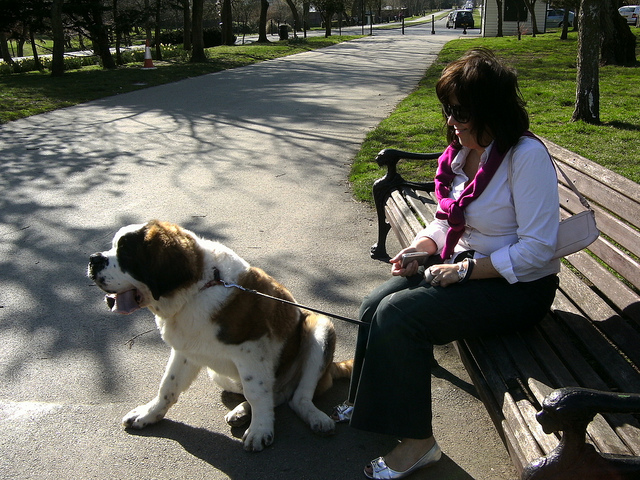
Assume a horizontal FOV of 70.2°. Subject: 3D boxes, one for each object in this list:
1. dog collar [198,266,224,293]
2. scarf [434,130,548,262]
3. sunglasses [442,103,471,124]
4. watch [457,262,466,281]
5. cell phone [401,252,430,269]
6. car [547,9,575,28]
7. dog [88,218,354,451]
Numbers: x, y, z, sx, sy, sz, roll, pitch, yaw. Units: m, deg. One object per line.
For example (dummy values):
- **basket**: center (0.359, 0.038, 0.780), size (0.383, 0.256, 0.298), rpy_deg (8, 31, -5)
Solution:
- **dog collar**: center (-0.691, 0.245, 2.891), size (0.154, 0.107, 0.081), rpy_deg (-8, 22, -15)
- **scarf**: center (1.069, -0.278, 3.075), size (0.589, 0.922, 0.573), rpy_deg (5, 6, 17)
- **sunglasses**: center (0.842, -0.781, 2.808), size (0.069, 0.116, 0.181), rpy_deg (-14, 25, -29)
- **watch**: center (0.849, 0.188, 2.724), size (0.047, 0.085, 0.076), rpy_deg (3, 22, 12)
- **cell phone**: center (0.637, 0.125, 3.050), size (0.127, 0.138, 0.031), rpy_deg (-9, 42, -15)
- **car**: center (27.701, -25.730, 52.605), size (2.413, 2.154, 7.438), rpy_deg (5, 24, 17)
- **dog**: center (-0.614, 0.576, 3.061), size (1.436, 1.475, 0.754), rpy_deg (-3, 21, -2)
